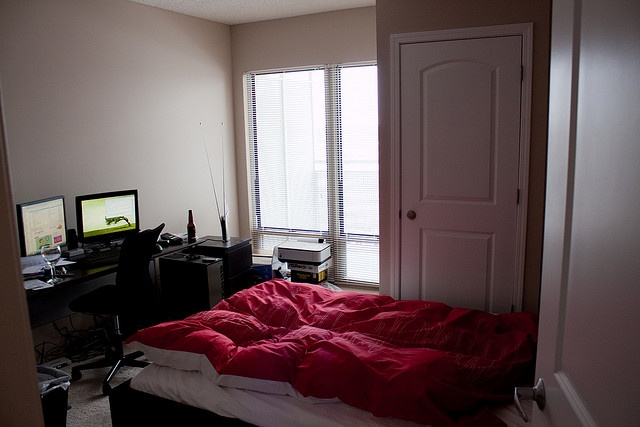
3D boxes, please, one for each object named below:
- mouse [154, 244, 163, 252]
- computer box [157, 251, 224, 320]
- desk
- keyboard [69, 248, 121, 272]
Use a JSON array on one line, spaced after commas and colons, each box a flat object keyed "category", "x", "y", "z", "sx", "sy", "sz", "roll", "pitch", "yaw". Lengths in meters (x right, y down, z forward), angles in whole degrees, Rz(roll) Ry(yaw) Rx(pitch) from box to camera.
[{"category": "mouse", "x": -1.446, "y": 0.312, "z": 4.082, "sx": 0.080, "sy": 0.063, "sz": 0.061, "roll": 9, "pitch": 7, "yaw": 37}, {"category": "computer box", "x": -1.126, "y": 0.628, "z": 4.132, "sx": 0.716, "sy": 0.708, "sz": 0.410, "roll": 0, "pitch": 10, "yaw": 8}, {"category": "desk", "x": -1.612, "y": 0.722, "z": 3.588, "sx": 0.681, "sy": 1.120, "sz": 0.718, "roll": -2, "pitch": 1, "yaw": 15}, {"category": "keyboard", "x": -1.782, "y": 0.362, "z": 3.627, "sx": 0.172, "sy": 0.052, "sz": 0.396, "roll": 14, "pitch": 9, "yaw": 9}]
